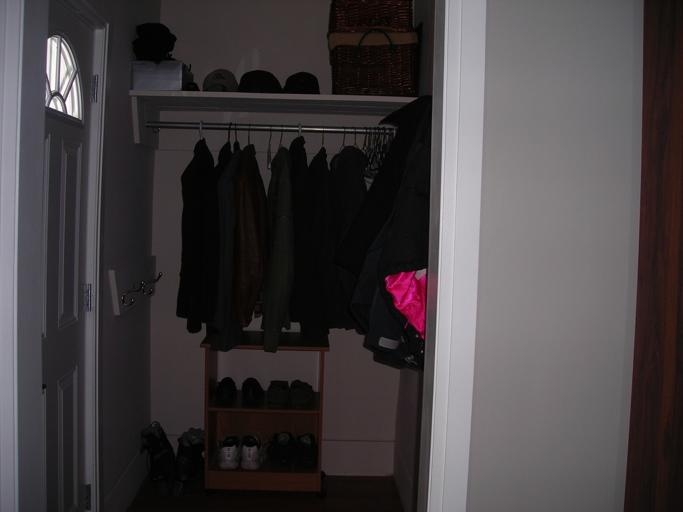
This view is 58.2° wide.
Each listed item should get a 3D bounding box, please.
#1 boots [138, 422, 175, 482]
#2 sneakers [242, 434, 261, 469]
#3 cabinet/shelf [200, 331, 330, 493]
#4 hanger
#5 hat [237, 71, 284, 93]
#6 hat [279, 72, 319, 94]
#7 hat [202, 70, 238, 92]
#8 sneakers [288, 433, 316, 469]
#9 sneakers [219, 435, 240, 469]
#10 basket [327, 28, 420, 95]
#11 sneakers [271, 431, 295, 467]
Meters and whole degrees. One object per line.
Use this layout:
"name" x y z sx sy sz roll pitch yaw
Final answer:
"boots" -0.926 1.020 3.177 0.205 0.282 0.123 0 2 27
"sneakers" -0.458 0.993 3.108 0.103 0.125 0.153 -1 2 -7
"cabinet/shelf" -0.407 0.804 3.137 0.720 0.976 0.405 0 -4 -2
"hanger" -0.166 -0.513 3.029 0.855 0.280 0.595 0 2 6
"hat" -0.388 -0.834 2.956 0.215 0.115 0.085 -1 2 -9
"hat" -0.204 -0.841 3.001 0.116 0.071 0.174 1 29 -1
"hat" -0.584 -0.848 2.981 0.163 0.113 0.057 -1 2 -14
"sneakers" -0.187 0.993 3.117 0.097 0.154 0.055 0 -15 6
"sneakers" -0.571 0.992 3.134 0.106 0.115 0.228 -1 2 -10
"basket" 0.157 -0.889 2.854 0.301 0.223 0.327 2 18 2
"sneakers" -0.296 0.975 3.090 0.098 0.157 0.140 1 -9 -3
